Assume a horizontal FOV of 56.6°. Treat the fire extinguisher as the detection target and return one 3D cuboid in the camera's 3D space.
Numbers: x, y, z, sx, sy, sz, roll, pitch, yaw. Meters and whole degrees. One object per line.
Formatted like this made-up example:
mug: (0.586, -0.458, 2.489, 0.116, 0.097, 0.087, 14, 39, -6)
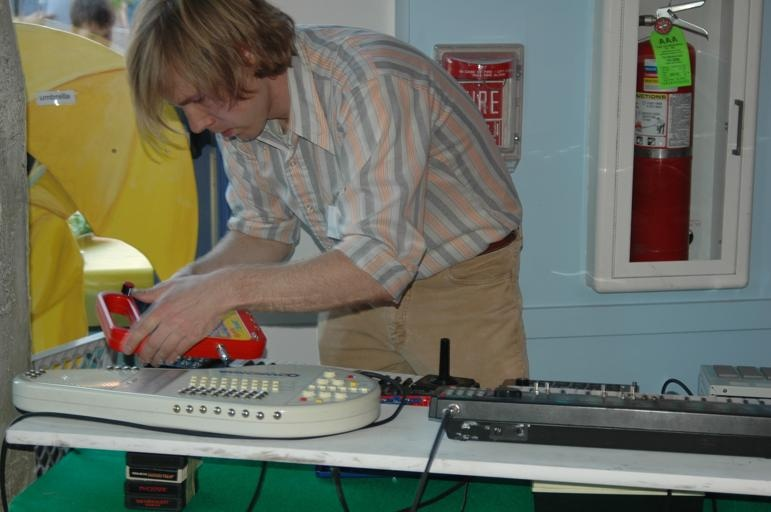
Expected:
fire extinguisher: (0.929, -0.395, 2.364, 0.248, 0.841, 0.100, -1, 9, 13)
